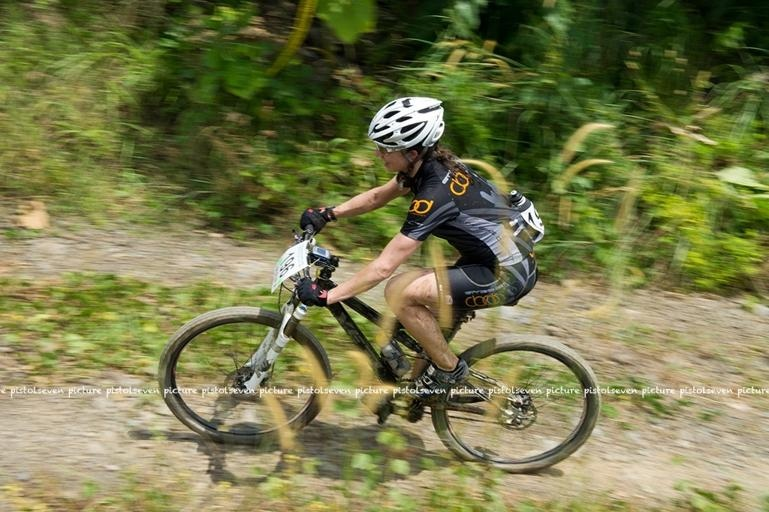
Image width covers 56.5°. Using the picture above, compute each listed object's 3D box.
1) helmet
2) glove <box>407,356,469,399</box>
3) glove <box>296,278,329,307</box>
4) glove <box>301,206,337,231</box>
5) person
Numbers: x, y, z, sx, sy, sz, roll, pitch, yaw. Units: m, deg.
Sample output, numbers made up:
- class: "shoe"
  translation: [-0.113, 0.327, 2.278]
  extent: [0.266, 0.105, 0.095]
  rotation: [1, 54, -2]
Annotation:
- class: "helmet"
  translation: [0.201, -1.095, 6.153]
  extent: [0.774, 0.298, 0.380]
  rotation: [-20, 73, -5]
- class: "glove"
  translation: [0.523, 1.127, 6.454]
  extent: [0.280, 0.259, 0.799]
  rotation: [1, -18, -46]
- class: "glove"
  translation: [-0.608, 0.301, 6.077]
  extent: [0.291, 0.226, 0.197]
  rotation: [9, 20, -10]
- class: "glove"
  translation: [-0.601, -0.325, 6.430]
  extent: [0.321, 0.109, 0.249]
  rotation: [-17, 53, -27]
- class: "person"
  translation: [0.432, -0.023, 6.205]
  extent: [1.789, 2.648, 0.982]
  rotation: [19, 22, 5]
